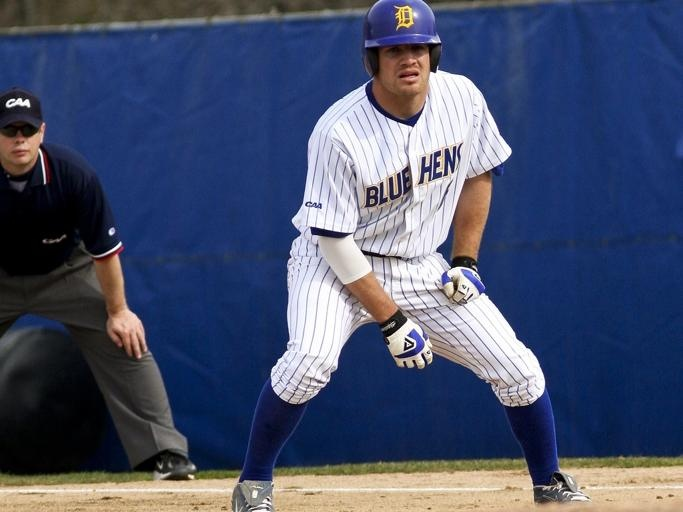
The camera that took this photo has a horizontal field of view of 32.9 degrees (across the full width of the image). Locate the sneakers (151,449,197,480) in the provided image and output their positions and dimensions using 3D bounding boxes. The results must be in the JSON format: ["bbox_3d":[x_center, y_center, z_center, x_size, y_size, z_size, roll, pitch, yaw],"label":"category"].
[{"bbox_3d":[-0.961,1.218,6.701,0.264,0.126,0.128,-9,-9,44],"label":"sneakers"}]

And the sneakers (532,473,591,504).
[{"bbox_3d":[1.063,1.159,5.742,0.300,0.148,0.118,-15,-17,37],"label":"sneakers"}]

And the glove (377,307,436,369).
[{"bbox_3d":[0.322,0.415,5.662,0.209,0.298,0.105,-30,6,7],"label":"glove"}]
